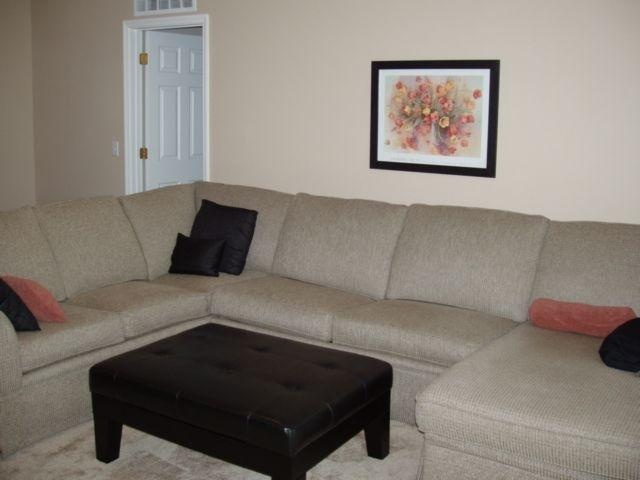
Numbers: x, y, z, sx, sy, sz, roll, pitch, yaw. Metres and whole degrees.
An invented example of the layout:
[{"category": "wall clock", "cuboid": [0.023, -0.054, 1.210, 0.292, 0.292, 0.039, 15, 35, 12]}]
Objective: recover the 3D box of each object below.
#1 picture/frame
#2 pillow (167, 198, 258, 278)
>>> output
[{"category": "picture/frame", "cuboid": [0.909, -0.945, 3.998, 0.995, 0.799, 0.039, 4, 6, 27]}, {"category": "pillow", "cuboid": [-0.781, 0.003, 3.886, 0.584, 0.541, 0.177, 10, -16, 25]}]
